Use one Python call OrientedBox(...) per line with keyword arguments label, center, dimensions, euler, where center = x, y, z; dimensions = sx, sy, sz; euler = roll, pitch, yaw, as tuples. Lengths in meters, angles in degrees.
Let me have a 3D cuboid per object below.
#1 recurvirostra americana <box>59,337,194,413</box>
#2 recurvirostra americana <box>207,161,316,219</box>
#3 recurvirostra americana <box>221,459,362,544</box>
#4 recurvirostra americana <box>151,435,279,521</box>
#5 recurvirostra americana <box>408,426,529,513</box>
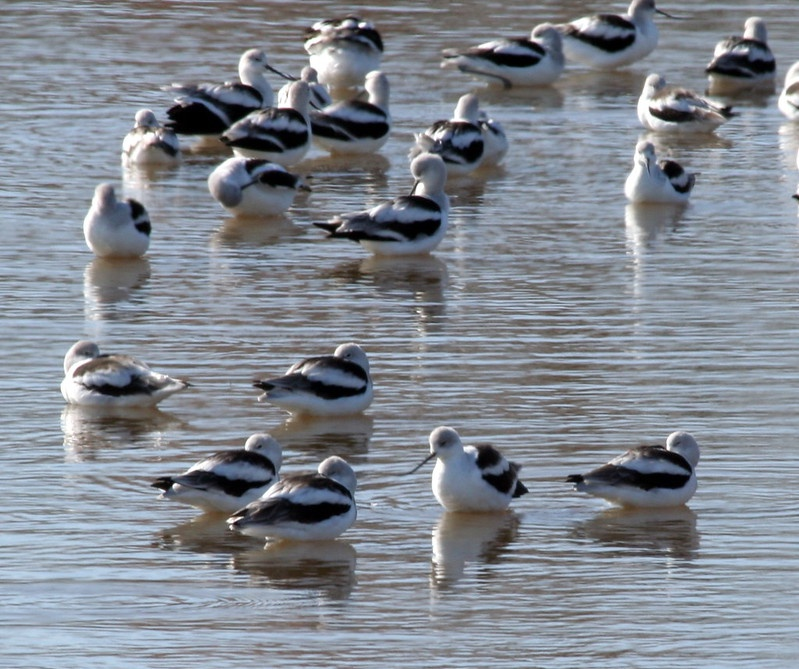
OrientedBox(label="recurvirostra americana", center=(-2.197, 0.346, 12.964), dimensions=(1.244, 0.566, 0.513), euler=(1, 101, 29))
OrientedBox(label="recurvirostra americana", center=(-1.679, -1.689, 18.254), dimensions=(0.642, 1.195, 0.480), euler=(3, 98, 38))
OrientedBox(label="recurvirostra americana", center=(-0.757, 1.136, 10.827), dimensions=(0.583, 1.008, 0.494), euler=(13, 105, 38))
OrientedBox(label="recurvirostra americana", center=(-1.291, 0.992, 11.215), dimensions=(0.496, 1.019, 0.482), euler=(15, 106, 45))
OrientedBox(label="recurvirostra americana", center=(0.542, 0.959, 11.293), dimensions=(0.635, 0.403, 0.599), euler=(-4, 82, -1))
